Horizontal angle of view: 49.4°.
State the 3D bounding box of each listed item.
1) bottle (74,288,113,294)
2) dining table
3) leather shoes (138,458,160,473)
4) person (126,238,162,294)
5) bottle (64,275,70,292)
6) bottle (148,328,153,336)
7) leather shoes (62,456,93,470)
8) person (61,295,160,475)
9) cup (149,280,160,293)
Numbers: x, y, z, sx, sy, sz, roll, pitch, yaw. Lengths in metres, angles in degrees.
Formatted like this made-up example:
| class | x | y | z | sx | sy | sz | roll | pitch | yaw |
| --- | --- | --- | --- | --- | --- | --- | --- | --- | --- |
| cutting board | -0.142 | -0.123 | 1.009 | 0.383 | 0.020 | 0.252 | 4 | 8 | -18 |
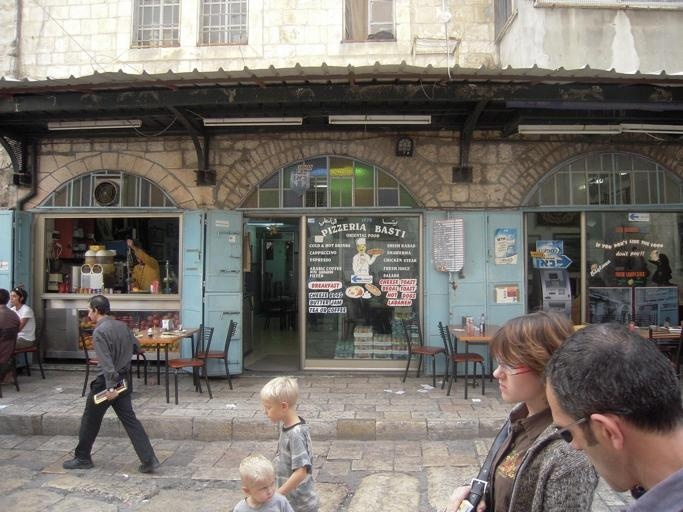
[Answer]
| class | x | y | z | sx | sy | sz | roll | pitch | yaw |
| --- | --- | --- | --- | --- | --- | --- | --- | --- | --- |
| bottle | -4.813 | 0.676 | 14.330 | 0.790 | 0.124 | 0.319 | -2 | 0 | -6 |
| dining table | 2.069 | 1.648 | 11.611 | 0.993 | 0.785 | 1.729 | -1 | 4 | -3 |
| leather shoes | -2.645 | 2.839 | 10.124 | 0.144 | 0.131 | 0.303 | 1 | 0 | -36 |
| person | -3.880 | 0.181 | 14.562 | 0.609 | 1.028 | 0.762 | -2 | -1 | -15 |
| bottle | -5.395 | 0.529 | 14.527 | 0.137 | 0.322 | 0.259 | -2 | -1 | -21 |
| bottle | -3.271 | 1.284 | 12.565 | 0.087 | 0.144 | 0.082 | 1 | 28 | -1 |
| leather shoes | -3.638 | 2.801 | 10.199 | 0.363 | 0.152 | 0.159 | 6 | -3 | -6 |
| person | -3.166 | 1.734 | 10.176 | 1.205 | 2.404 | 0.591 | -2 | -1 | -8 |
| cup | -3.580 | 0.585 | 14.164 | 0.180 | 0.248 | 0.225 | -2 | -1 | -15 |
